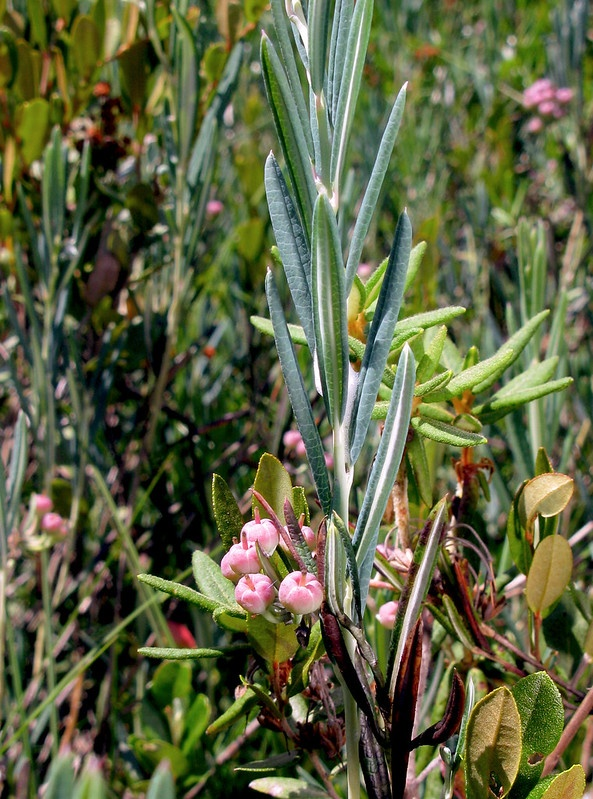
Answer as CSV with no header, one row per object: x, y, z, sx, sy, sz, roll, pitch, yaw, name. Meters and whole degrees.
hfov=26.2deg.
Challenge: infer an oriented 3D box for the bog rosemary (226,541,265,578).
-0.034,0.097,0.840,0.017,0.032,0.020,-19,7,-11,bog rosemary
